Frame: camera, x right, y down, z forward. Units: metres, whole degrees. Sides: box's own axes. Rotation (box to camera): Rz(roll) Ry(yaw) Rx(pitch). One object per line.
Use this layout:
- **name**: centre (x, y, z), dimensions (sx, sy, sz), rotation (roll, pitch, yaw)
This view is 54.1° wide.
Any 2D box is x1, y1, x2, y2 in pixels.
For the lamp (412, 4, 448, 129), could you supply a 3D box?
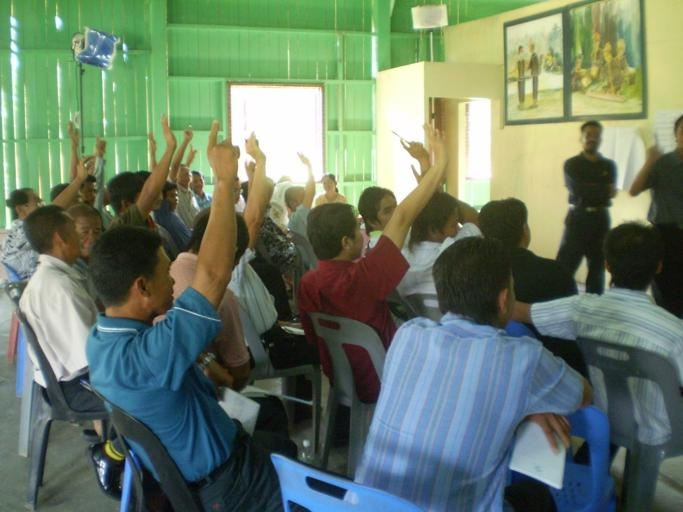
- **lamp**: centre (1.169, -2.509, 8.899), dimensions (0.397, 1.428, 1.718), rotation (-1, 11, 7)

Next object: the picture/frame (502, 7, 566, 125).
- **picture/frame**: centre (2.195, -2.140, 7.712), dimensions (0.079, 1.219, 1.114), rotation (-6, 11, -20)

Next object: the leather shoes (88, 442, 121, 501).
- **leather shoes**: centre (-0.992, 0.917, 2.825), dimensions (0.097, 0.146, 0.313), rotation (-2, 22, -18)

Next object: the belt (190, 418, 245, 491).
- **belt**: centre (-0.460, 0.776, 2.584), dimensions (0.107, 0.243, 0.160), rotation (25, -15, -39)
